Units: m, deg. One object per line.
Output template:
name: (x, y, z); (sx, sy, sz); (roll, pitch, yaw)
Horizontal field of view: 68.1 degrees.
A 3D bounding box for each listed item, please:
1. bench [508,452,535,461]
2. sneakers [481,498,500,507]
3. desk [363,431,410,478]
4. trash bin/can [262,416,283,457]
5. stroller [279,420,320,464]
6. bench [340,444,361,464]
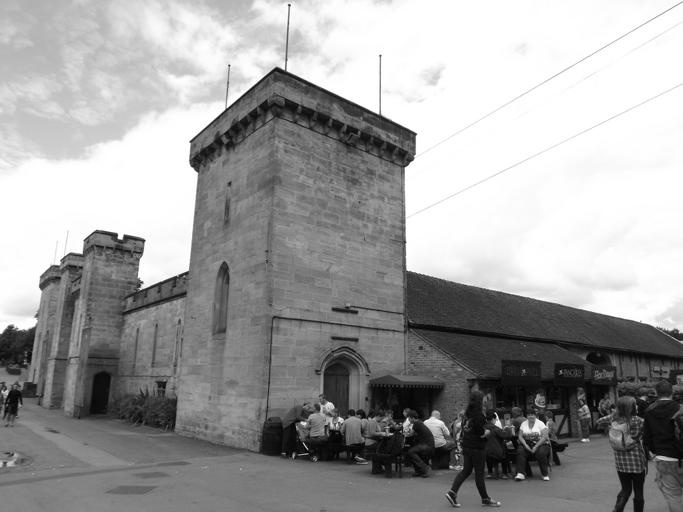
bench: (5.163, 5.914, 14.809); (0.500, 0.124, 0.509); (0, -10, 4)
sneakers: (3.393, 5.562, 11.463); (0.463, 0.204, 0.186); (1, -5, -8)
desk: (1.152, 5.784, 14.841); (1.363, 1.523, 1.095); (-11, -21, 40)
trash bin/can: (-2.396, 6.245, 17.789); (0.701, 1.016, 0.759); (-5, -11, 24)
stroller: (-1.558, 6.301, 17.234); (1.053, 1.500, 1.380); (17, -31, -38)
bench: (0.275, 6.610, 16.959); (0.644, 0.574, 0.769); (-2, -21, 7)
